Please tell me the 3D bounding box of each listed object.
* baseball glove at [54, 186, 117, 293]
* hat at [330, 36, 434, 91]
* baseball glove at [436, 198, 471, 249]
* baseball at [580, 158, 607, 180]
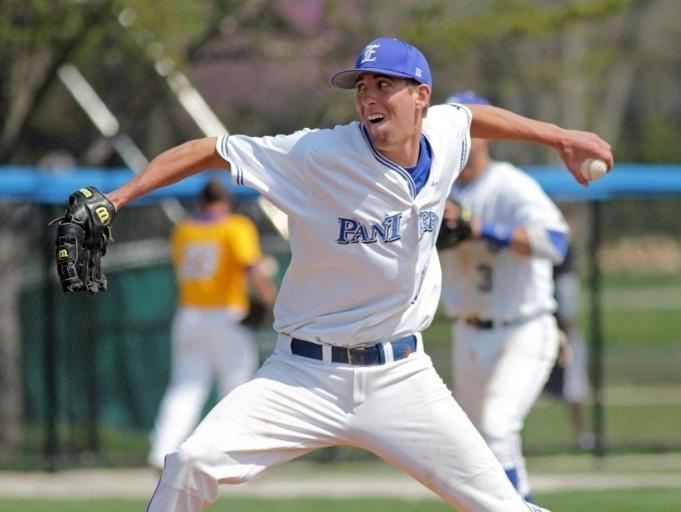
[{"bbox_3d":[-1.411,-0.074,7.179,0.276,0.529,0.199,3,-1,4],"label":"baseball glove"},{"bbox_3d":[0.267,-1.084,7.429,0.411,0.232,0.317,14,2,-12],"label":"hat"},{"bbox_3d":[0.696,-0.201,8.558,0.205,0.290,0.224,-7,3,-12],"label":"baseball glove"},{"bbox_3d":[1.448,-0.500,7.531,0.117,0.123,0.070,2,4,10],"label":"baseball"}]
